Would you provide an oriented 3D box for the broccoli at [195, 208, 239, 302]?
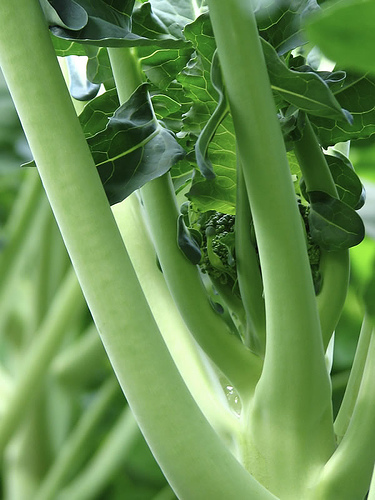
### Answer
[{"bbox_3d":[0.027,0.007,0.387,0.038,0.077,0.043,-1,8,23],"label":"broccoli"}]

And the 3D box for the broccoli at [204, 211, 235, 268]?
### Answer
[{"bbox_3d":[0.023,-0.008,0.388,0.034,0.021,0.039,4,58,-5],"label":"broccoli"}]
